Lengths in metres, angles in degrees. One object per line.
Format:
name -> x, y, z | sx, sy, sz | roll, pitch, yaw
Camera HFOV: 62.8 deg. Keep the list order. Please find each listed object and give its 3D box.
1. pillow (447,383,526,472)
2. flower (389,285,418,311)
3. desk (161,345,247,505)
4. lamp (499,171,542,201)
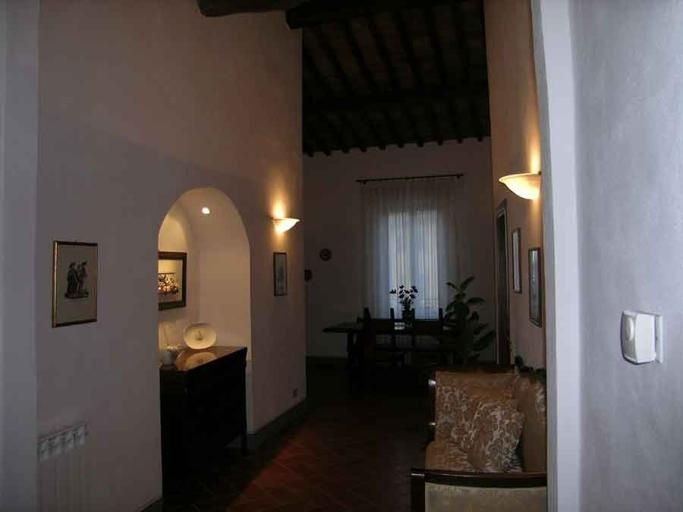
pillow -> 0.913, 1.089, 3.434 | 0.082, 0.387, 0.343 | 7, 4, -24
flower -> 1.018, 0.653, 8.794 | 0.360, 0.345, 0.389 | -2, -3, 5
desk -> -1.147, 1.315, 4.626 | 0.360, 0.914, 1.037 | -1, -1, 15
lamp -> 1.185, -0.451, 3.709 | 0.228, 0.181, 0.449 | 0, 2, 15
